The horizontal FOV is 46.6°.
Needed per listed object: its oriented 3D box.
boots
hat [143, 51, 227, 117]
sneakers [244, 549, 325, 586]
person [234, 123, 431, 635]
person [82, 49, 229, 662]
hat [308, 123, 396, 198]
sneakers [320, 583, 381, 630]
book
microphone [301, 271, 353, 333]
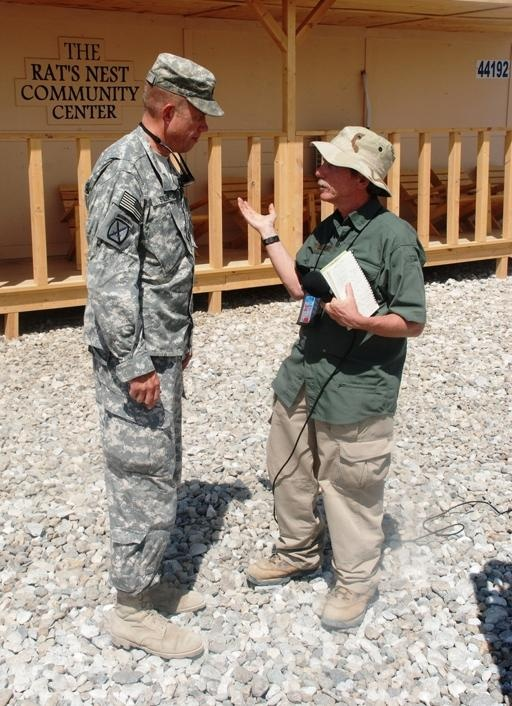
[{"bbox_3d":[-0.350,0.920,2.061,0.250,0.155,0.350,-3,7,-39],"label":"boots"},{"bbox_3d":[-0.191,-0.751,1.699,0.260,0.098,0.162,23,30,-12],"label":"hat"},{"bbox_3d":[0.124,0.885,2.482,0.321,0.125,0.129,3,6,-11],"label":"sneakers"},{"bbox_3d":[0.267,0.105,2.161,0.472,1.813,0.698,-4,13,-20],"label":"person"},{"bbox_3d":[-0.334,0.081,1.871,0.456,1.912,0.435,-8,14,-35],"label":"person"},{"bbox_3d":[0.323,-0.646,1.974,0.248,0.235,0.234,4,12,17],"label":"hat"},{"bbox_3d":[0.353,0.920,2.166,0.108,0.105,0.267,18,10,27],"label":"sneakers"},{"bbox_3d":[0.285,-0.219,1.813,0.070,0.204,0.169,-27,7,37],"label":"book"},{"bbox_3d":[0.258,-0.168,2.035,0.237,0.095,0.104,40,-11,-30],"label":"microphone"}]
